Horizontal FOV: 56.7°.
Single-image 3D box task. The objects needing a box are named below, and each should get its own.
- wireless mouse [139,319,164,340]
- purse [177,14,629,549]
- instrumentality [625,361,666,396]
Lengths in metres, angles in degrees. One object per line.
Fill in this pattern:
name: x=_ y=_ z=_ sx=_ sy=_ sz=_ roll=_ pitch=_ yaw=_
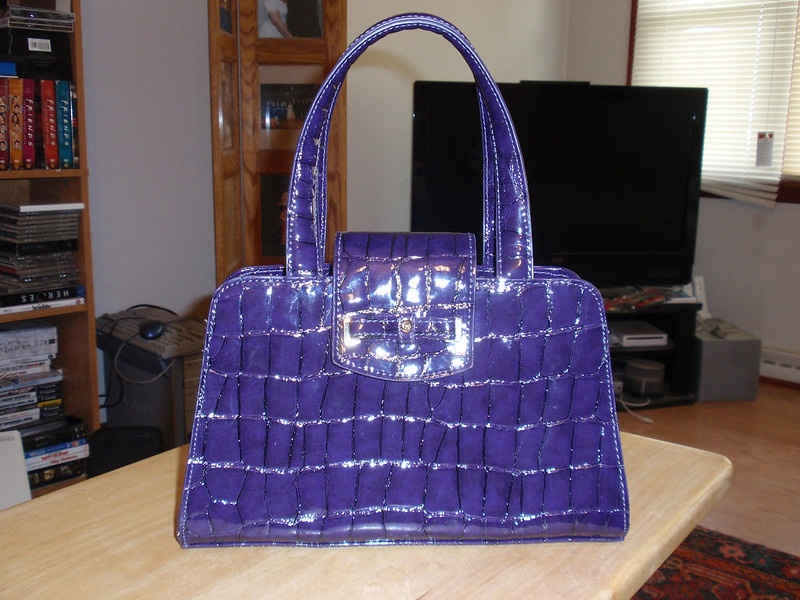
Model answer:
wireless mouse: x=-0.715 y=0.086 z=2.146 sx=0.072 sy=0.054 sz=0.094 roll=-3 pitch=12 yaw=-17
purse: x=0.012 y=-0.035 z=1.052 sx=0.655 sy=0.742 sz=0.258 roll=0 pitch=23 yaw=-6
instrumentality: x=0.904 y=0.280 z=2.775 sx=0.126 sy=0.113 sz=0.125 roll=-6 pitch=13 yaw=-35
